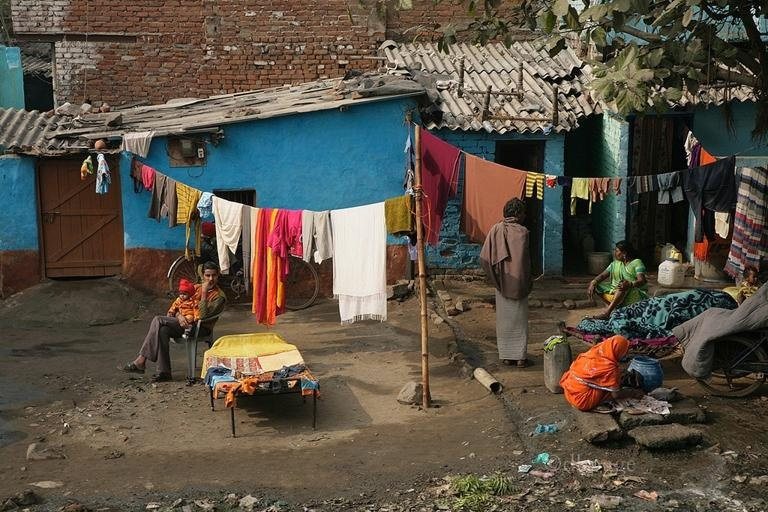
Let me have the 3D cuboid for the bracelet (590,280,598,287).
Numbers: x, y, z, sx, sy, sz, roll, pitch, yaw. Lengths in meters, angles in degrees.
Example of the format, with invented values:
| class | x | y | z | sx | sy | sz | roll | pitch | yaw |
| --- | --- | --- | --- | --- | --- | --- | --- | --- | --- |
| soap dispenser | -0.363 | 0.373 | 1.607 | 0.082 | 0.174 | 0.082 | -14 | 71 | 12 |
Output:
| class | x | y | z | sx | sy | sz | roll | pitch | yaw |
| --- | --- | --- | --- | --- | --- | --- | --- | --- | --- |
| bracelet | 3.603 | 0.473 | 13.499 | 0.097 | 0.041 | 0.110 | 26 | -45 | -27 |

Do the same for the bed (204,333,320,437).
| class | x | y | z | sx | sy | sz | roll | pitch | yaw |
| --- | --- | --- | --- | --- | --- | --- | --- | --- | --- |
| bed | -1.847 | 1.844 | 11.949 | 1.483 | 0.691 | 2.183 | -3 | 11 | -16 |

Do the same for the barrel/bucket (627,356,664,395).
| class | x | y | z | sx | sy | sz | roll | pitch | yaw |
| --- | --- | --- | --- | --- | --- | --- | --- | --- | --- |
| barrel/bucket | 3.764 | 1.681 | 11.356 | 0.508 | 0.402 | 0.534 | 1 | 8 | 0 |

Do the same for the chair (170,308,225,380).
| class | x | y | z | sx | sy | sz | roll | pitch | yaw |
| --- | --- | --- | --- | --- | --- | --- | --- | --- | --- |
| chair | -3.138 | 1.451 | 12.868 | 0.958 | 1.036 | 0.880 | -3 | -2 | -17 |

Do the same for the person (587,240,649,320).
| class | x | y | z | sx | sy | sz | roll | pitch | yaw |
| --- | --- | --- | --- | --- | --- | --- | --- | --- | --- |
| person | 3.903 | 0.394 | 13.087 | 1.008 | 1.244 | 0.937 | -1 | 2 | -35 |

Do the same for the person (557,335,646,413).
| class | x | y | z | sx | sy | sz | roll | pitch | yaw |
| --- | --- | --- | --- | --- | --- | --- | --- | --- | --- |
| person | 3.112 | 1.624 | 11.085 | 1.172 | 1.087 | 1.022 | 8 | 12 | 37 |

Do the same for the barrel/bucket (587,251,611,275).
| class | x | y | z | sx | sy | sz | roll | pitch | yaw |
| --- | --- | --- | --- | --- | --- | --- | --- | --- | --- |
| barrel/bucket | 4.667 | 0.152 | 17.333 | 0.483 | 0.406 | 0.471 | 1 | 10 | 0 |

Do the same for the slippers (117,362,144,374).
| class | x | y | z | sx | sy | sz | roll | pitch | yaw |
| --- | --- | --- | --- | --- | --- | --- | --- | --- | --- |
| slippers | -4.037 | 1.792 | 12.605 | 0.383 | 0.142 | 0.212 | 3 | -2 | -2 |

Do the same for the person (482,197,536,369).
| class | x | y | z | sx | sy | sz | roll | pitch | yaw |
| --- | --- | --- | --- | --- | --- | --- | --- | --- | --- |
| person | 1.948 | 0.448 | 12.433 | 0.745 | 2.655 | 0.392 | -2 | 9 | 10 |

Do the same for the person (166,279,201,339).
| class | x | y | z | sx | sy | sz | roll | pitch | yaw |
| --- | --- | --- | --- | --- | --- | --- | --- | --- | --- |
| person | -3.233 | 0.784 | 12.658 | 0.535 | 0.746 | 0.467 | -2 | 13 | -5 |
